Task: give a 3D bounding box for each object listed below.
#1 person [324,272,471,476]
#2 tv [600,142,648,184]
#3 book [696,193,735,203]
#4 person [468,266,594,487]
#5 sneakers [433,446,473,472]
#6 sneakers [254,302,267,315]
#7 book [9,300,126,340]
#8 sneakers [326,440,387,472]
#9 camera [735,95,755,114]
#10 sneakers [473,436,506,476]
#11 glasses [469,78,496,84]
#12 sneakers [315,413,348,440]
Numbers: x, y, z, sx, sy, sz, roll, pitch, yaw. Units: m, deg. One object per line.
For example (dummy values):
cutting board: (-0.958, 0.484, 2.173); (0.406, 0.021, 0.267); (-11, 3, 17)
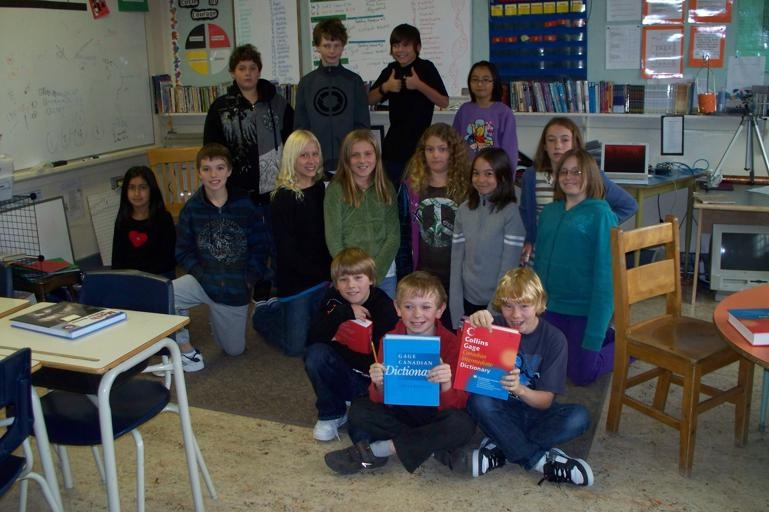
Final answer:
person: (0.106, 0.665, 3.384); (0.884, 1.021, 0.726); (-6, 15, -40)
tv: (2.058, -0.809, 5.389); (0.449, 0.396, 0.318); (3, 9, 20)
book: (2.669, -0.460, 5.035); (0.269, 0.047, 0.275); (2, 12, 18)
person: (0.741, 0.641, 3.322); (0.661, 1.028, 0.848); (-8, 11, -25)
sneakers: (0.379, 1.101, 3.396); (0.193, 0.127, 0.081); (5, 37, 19)
sneakers: (-0.973, 0.412, 4.891); (0.104, 0.115, 0.086); (-3, 14, -31)
book: (-1.617, 0.325, 3.155); (0.327, 0.034, 0.243); (9, 19, 26)
sneakers: (-0.156, 1.090, 3.433); (0.288, 0.123, 0.164); (1, 35, -10)
camera: (3.127, -1.314, 5.397); (0.082, 0.166, 0.254); (1, 12, 12)
sneakers: (0.552, 1.103, 3.367); (0.099, 0.126, 0.299); (12, 14, 22)
glasses: (0.773, -1.401, 4.966); (0.185, 0.049, 0.064); (0, 12, 7)
sneakers: (-0.316, 1.026, 3.731); (0.091, 0.093, 0.223); (6, 4, 29)
